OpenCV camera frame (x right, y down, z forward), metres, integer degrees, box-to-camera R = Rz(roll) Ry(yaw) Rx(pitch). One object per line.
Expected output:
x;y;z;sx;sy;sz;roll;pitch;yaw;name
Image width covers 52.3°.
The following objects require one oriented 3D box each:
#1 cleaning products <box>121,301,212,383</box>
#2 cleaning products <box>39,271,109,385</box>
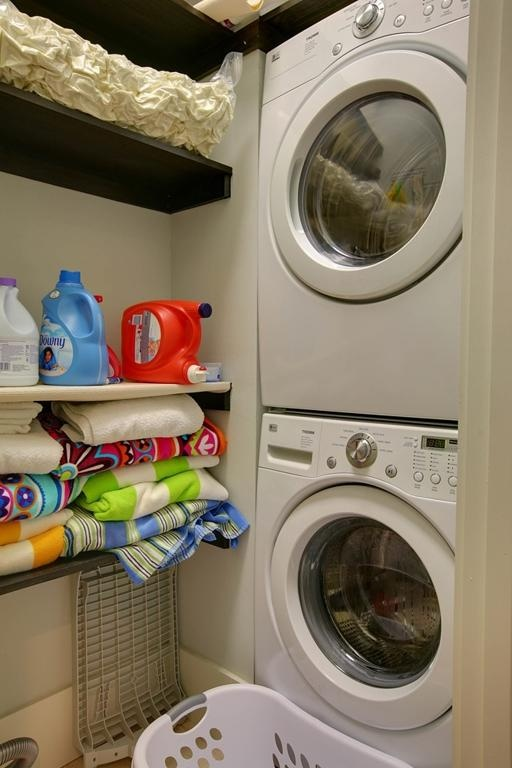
-0.222;-0.099;1.220;0.207;0.217;0.105;3;3;19;cleaning products
-0.365;-0.111;1.026;0.128;0.224;0.093;5;5;28;cleaning products
